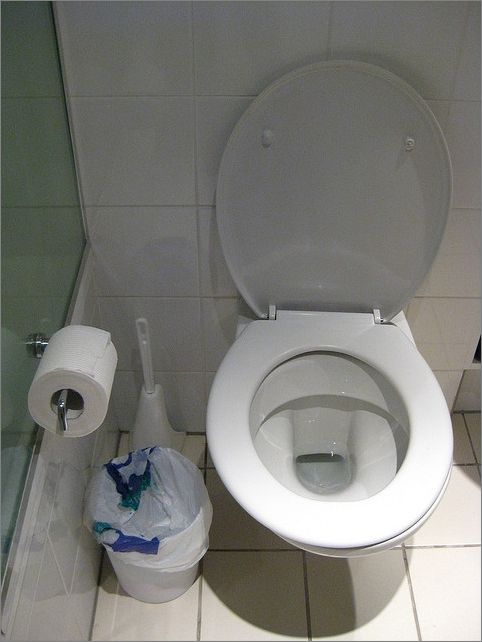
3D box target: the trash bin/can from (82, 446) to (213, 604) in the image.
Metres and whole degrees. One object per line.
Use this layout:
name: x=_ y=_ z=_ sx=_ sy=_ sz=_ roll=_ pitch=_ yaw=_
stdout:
trash bin/can: x=-0.170 y=0.367 z=0.943 sx=0.177 sy=0.273 sz=0.262 roll=-11 pitch=43 yaw=-12
